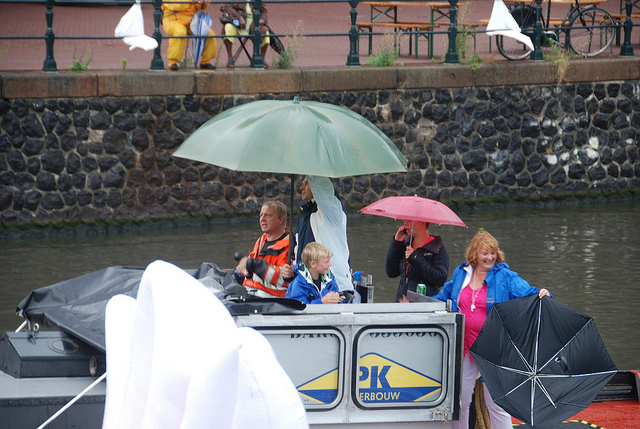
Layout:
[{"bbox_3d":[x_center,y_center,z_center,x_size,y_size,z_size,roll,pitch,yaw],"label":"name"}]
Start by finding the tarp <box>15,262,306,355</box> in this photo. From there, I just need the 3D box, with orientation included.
[{"bbox_3d":[-2.411,1.440,24.919,4.202,1.181,1.885,-2,6,-11],"label":"tarp"}]

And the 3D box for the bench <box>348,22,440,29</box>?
[{"bbox_3d":[1.648,-4.124,35.759,1.665,0.161,2.123,-1,6,-1],"label":"bench"}]

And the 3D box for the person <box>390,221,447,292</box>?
[{"bbox_3d":[1.553,0.693,25.844,0.577,1.264,1.077,1,-2,-4],"label":"person"}]

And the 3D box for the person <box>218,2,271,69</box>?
[{"bbox_3d":[-1.487,-3.608,33.012,0.962,1.322,1.005,-1,5,-3],"label":"person"}]
